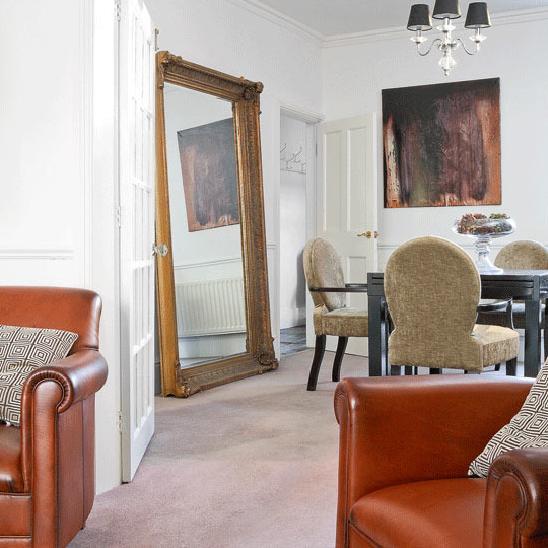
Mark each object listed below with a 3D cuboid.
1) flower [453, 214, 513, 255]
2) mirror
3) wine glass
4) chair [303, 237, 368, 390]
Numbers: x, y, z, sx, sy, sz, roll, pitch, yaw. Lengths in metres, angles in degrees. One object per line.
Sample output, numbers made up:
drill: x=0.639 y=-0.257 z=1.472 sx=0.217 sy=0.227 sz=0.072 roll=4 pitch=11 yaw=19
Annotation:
flower: x=1.245 y=-0.279 z=3.327 sx=0.250 sy=0.226 sz=0.275 roll=-1 pitch=6 yaw=-2
mirror: x=-0.414 y=-0.370 z=4.054 sx=0.268 sy=2.366 sz=1.255 roll=2 pitch=3 yaw=33
wine glass: x=1.301 y=-0.152 z=3.362 sx=0.314 sy=0.403 sz=0.327 roll=1 pitch=3 yaw=34
chair: x=0.419 y=0.276 z=3.801 sx=0.427 sy=1.077 sz=0.606 roll=0 pitch=2 yaw=7
